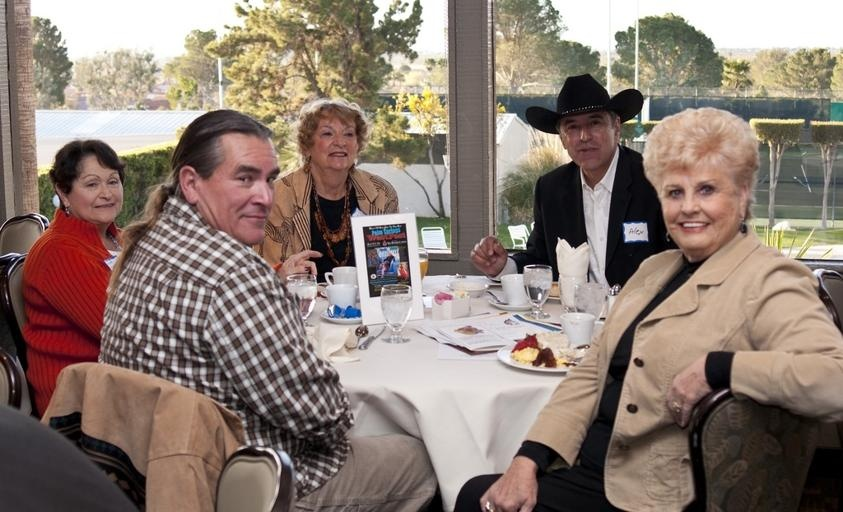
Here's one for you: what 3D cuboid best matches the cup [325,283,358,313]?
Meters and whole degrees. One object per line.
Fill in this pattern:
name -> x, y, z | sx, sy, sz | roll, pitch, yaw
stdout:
cup -> -0.348, 0.181, 2.758 | 0.110, 0.084, 0.110 | -1, 4, 0

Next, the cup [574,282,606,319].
cup -> 0.677, 0.177, 2.558 | 0.131, 0.145, 0.127 | -1, 5, 0

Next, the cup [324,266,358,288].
cup -> -0.378, 0.096, 3.001 | 0.137, 0.099, 0.105 | -1, 6, 3

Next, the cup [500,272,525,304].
cup -> 0.414, 0.144, 2.821 | 0.112, 0.103, 0.120 | 0, 8, 0

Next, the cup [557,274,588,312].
cup -> 0.623, 0.151, 2.622 | 0.142, 0.160, 0.141 | 0, 2, 0

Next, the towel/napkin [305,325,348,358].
towel/napkin -> -0.354, 0.305, 2.337 | 0.122, 0.041, 0.125 | 4, 4, 40

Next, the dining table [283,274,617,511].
dining table -> 0.074, 0.490, 2.155 | 0.589, 0.363, 0.643 | 15, 31, 31

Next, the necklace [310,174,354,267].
necklace -> -0.499, -0.182, 3.558 | 0.286, 0.479, 0.115 | 1, -29, -11

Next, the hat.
hat -> 0.969, -0.785, 3.661 | 0.462, 0.185, 0.492 | -6, -10, 18

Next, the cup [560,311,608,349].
cup -> 0.622, 0.282, 2.420 | 0.129, 0.103, 0.129 | -4, -1, 0
